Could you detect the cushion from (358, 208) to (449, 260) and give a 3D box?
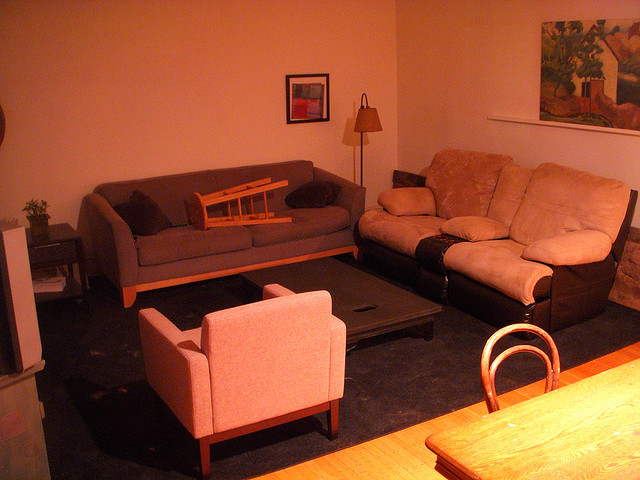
[{"bbox_3d":[0.958,-0.103,5.461,0.908,0.315,0.950,21,17,18],"label":"cushion"}]

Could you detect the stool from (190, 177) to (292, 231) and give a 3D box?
[{"bbox_3d":[-0.891,-0.362,5.304,0.925,0.496,0.556,-8,11,-21],"label":"stool"}]

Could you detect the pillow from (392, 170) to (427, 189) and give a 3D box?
[{"bbox_3d":[1.187,-0.822,6.536,0.264,0.327,0.461,-11,20,-33],"label":"pillow"}]

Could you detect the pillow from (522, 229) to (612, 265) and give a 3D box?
[{"bbox_3d":[2.063,0.050,4.046,0.590,0.197,0.299,-7,11,-31],"label":"pillow"}]

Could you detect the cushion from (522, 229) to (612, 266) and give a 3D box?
[{"bbox_3d":[2.055,0.040,4.054,0.610,0.204,0.294,-10,16,-25],"label":"cushion"}]

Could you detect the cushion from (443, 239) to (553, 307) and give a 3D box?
[{"bbox_3d":[1.486,0.225,4.133,0.549,0.206,0.536,-14,31,-43],"label":"cushion"}]

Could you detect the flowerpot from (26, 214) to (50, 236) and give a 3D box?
[{"bbox_3d":[-2.607,-0.133,4.592,0.196,0.153,0.181,-6,19,-27],"label":"flowerpot"}]

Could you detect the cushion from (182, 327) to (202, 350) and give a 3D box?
[{"bbox_3d":[-0.744,0.572,2.872,0.185,0.044,0.172,-1,14,-20],"label":"cushion"}]

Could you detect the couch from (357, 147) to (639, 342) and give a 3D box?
[{"bbox_3d":[1.664,-0.069,4.601,1.637,1.535,2.832,-5,16,-32],"label":"couch"}]

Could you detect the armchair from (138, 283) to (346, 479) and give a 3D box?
[{"bbox_3d":[-0.457,0.640,3.140,1.064,1.133,1.042,-9,23,-25],"label":"armchair"}]

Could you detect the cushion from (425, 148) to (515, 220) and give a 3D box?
[{"bbox_3d":[1.691,-0.552,5.482,0.338,0.833,0.832,18,-6,-35],"label":"cushion"}]
